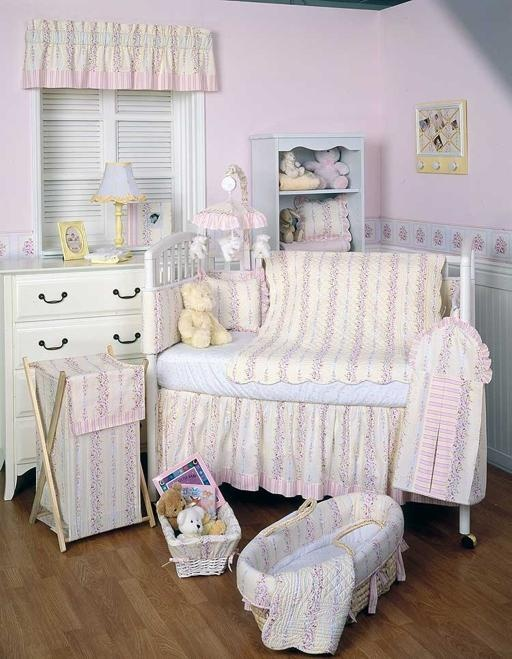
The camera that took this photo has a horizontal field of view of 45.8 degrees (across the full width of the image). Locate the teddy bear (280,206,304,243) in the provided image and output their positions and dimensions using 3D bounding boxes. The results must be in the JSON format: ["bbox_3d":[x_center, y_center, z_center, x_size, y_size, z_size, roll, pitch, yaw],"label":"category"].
[{"bbox_3d":[0.170,-0.581,3.398,0.086,0.181,0.190,-4,1,35],"label":"teddy bear"}]

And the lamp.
[{"bbox_3d":[-0.697,-0.593,3.029,0.307,0.455,0.290,-4,12,-28],"label":"lamp"}]

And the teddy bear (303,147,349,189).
[{"bbox_3d":[0.399,-0.933,3.457,0.255,0.238,0.160,2,34,7],"label":"teddy bear"}]

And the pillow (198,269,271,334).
[{"bbox_3d":[-0.094,-0.120,2.851,0.318,0.296,0.119,-1,9,11],"label":"pillow"}]

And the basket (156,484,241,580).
[{"bbox_3d":[-0.197,0.688,2.022,0.225,0.128,0.311,-2,6,-13],"label":"basket"}]

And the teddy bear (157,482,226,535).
[{"bbox_3d":[-0.237,0.603,2.100,0.139,0.087,0.228,-4,13,-21],"label":"teddy bear"}]

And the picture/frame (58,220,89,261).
[{"bbox_3d":[-0.867,-0.421,2.897,0.130,0.205,0.192,-2,5,-17],"label":"picture/frame"}]

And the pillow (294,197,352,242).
[{"bbox_3d":[0.382,-0.678,3.489,0.309,0.297,0.073,3,41,8],"label":"pillow"}]

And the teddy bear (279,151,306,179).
[{"bbox_3d":[0.191,-0.887,3.263,0.134,0.154,0.115,0,5,5],"label":"teddy bear"}]
